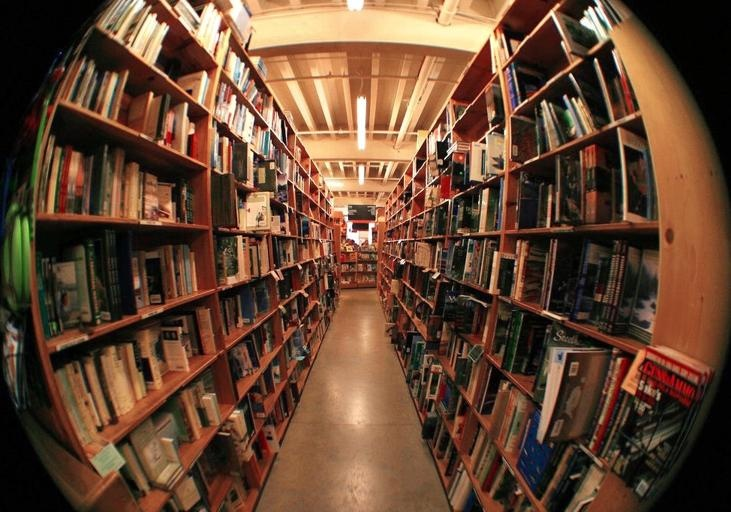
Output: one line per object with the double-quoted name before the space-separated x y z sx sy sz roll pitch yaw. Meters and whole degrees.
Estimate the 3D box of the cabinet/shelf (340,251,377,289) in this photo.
"cabinet/shelf" -0.217 0.342 11.369 0.887 0.289 0.849 -2 -84 -7
